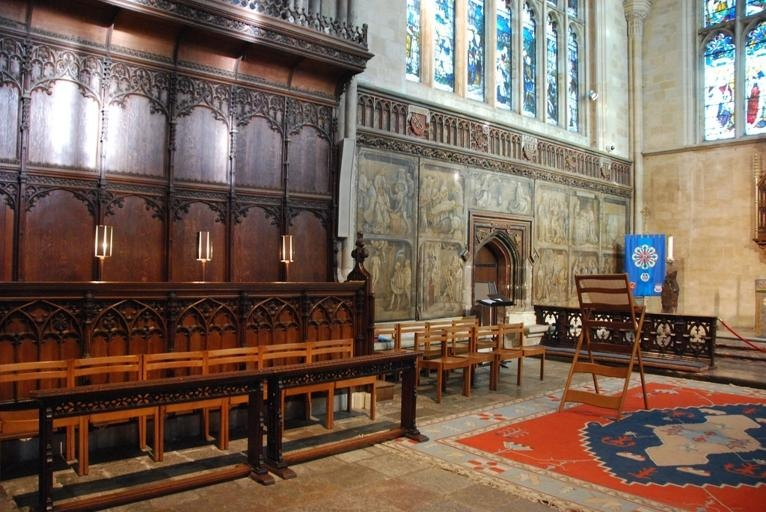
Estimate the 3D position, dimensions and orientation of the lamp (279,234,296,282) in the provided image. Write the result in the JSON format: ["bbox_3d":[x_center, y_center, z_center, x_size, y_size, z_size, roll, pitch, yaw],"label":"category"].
[{"bbox_3d":[-1.761,0.050,11.436,0.276,0.926,0.855,-2,13,-9],"label":"lamp"}]
